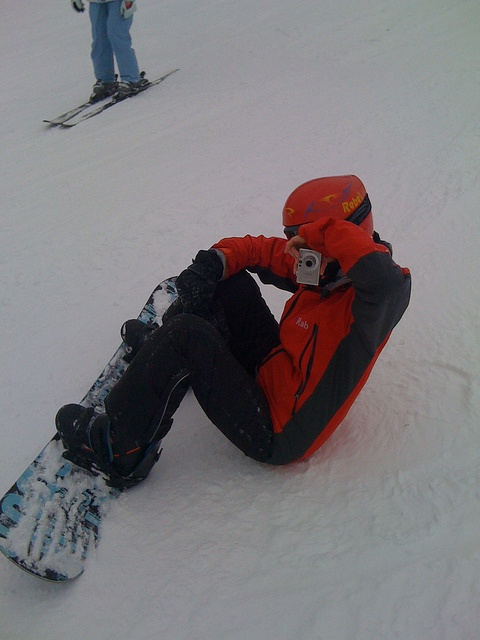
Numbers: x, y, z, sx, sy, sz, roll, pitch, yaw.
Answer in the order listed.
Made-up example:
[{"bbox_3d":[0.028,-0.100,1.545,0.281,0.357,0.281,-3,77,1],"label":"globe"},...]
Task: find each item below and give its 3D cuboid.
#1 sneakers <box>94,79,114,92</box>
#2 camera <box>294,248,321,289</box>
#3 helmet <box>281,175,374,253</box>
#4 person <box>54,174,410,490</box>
[{"bbox_3d":[-1.404,-2.434,7.238,0.054,0.075,0.170,23,54,20],"label":"sneakers"},{"bbox_3d":[0.274,-0.218,2.848,0.114,0.144,0.046,9,8,14],"label":"camera"},{"bbox_3d":[0.356,-0.460,2.989,0.351,0.257,0.242,-17,18,-2],"label":"helmet"},{"bbox_3d":[0.039,0.086,2.933,1.008,0.996,1.404,29,52,26],"label":"person"}]
